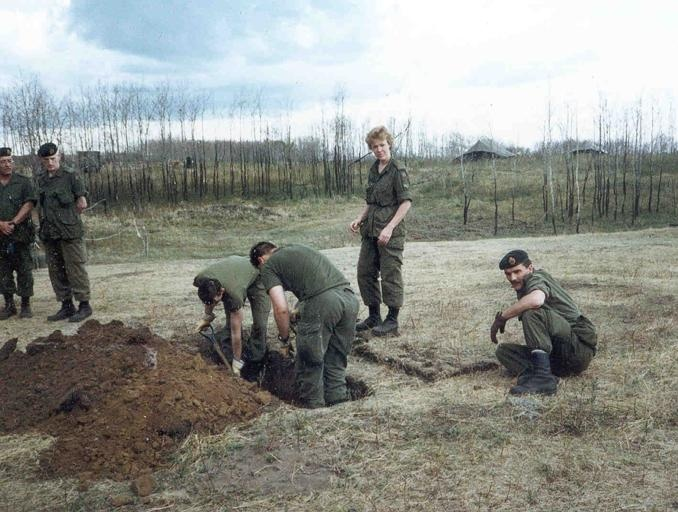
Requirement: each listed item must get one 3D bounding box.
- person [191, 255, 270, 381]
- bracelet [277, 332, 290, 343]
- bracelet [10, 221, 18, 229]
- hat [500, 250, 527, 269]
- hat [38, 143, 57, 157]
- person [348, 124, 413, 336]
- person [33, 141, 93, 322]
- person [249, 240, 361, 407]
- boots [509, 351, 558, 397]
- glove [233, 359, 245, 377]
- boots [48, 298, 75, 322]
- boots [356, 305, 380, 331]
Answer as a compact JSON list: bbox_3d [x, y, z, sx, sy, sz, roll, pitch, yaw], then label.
[{"bbox_3d":[-1.297,0.774,8.618,0.728,1.727,1.193,2,32,11],"label":"person"},{"bbox_3d":[-0.636,0.933,7.872,0.171,0.145,0.232,1,-5,5],"label":"bracelet"},{"bbox_3d":[-4.632,-0.463,9.817,0.068,0.105,0.028,0,6,-19],"label":"bracelet"},{"bbox_3d":[2.020,0.019,7.828,0.197,0.112,0.267,-2,7,38],"label":"hat"},{"bbox_3d":[-4.082,-1.496,9.671,0.245,0.204,0.337,-6,9,-23],"label":"hat"},{"bbox_3d":[0.576,-0.315,9.178,0.791,2.767,0.659,1,9,24],"label":"person"},{"bbox_3d":[-3.961,-0.344,9.939,0.686,2.558,0.456,-4,8,-10],"label":"person"},{"bbox_3d":[-0.296,0.807,7.829,1.090,1.873,0.381,-6,9,-23],"label":"person"},{"bbox_3d":[2.044,1.274,7.530,0.629,0.652,0.332,-2,2,15],"label":"boots"},{"bbox_3d":[-1.238,1.359,8.454,0.189,0.281,0.161,1,-3,-3],"label":"glove"},{"bbox_3d":[-4.023,0.794,10.113,0.492,0.400,0.216,2,3,-13],"label":"boots"},{"bbox_3d":[0.444,0.862,9.529,0.398,0.444,0.214,0,6,8],"label":"boots"}]
